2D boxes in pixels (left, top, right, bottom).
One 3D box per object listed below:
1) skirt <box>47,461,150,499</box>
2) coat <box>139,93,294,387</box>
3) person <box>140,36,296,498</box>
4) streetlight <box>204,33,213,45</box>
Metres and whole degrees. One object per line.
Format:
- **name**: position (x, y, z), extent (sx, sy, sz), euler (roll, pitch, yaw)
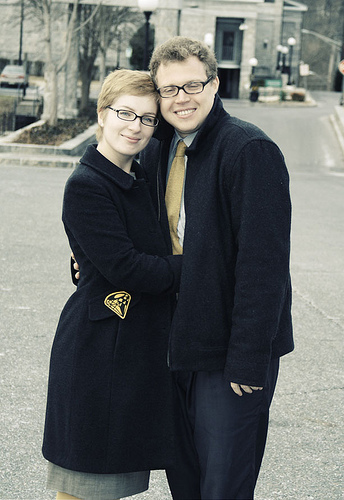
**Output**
- **skirt**: position (-0.279, 0.841, 2.224), extent (0.208, 0.133, 0.199), euler (19, -12, -35)
- **coat**: position (0.165, -0.045, 2.054), extent (0.344, 0.913, 0.493), euler (-4, 15, -28)
- **person**: position (0.164, 0.089, 2.178), extent (0.514, 1.661, 0.663), euler (1, 13, -12)
- **streetlight**: position (1.984, -11.552, 33.335), extent (0.381, 0.654, 1.032), euler (4, 12, 1)
